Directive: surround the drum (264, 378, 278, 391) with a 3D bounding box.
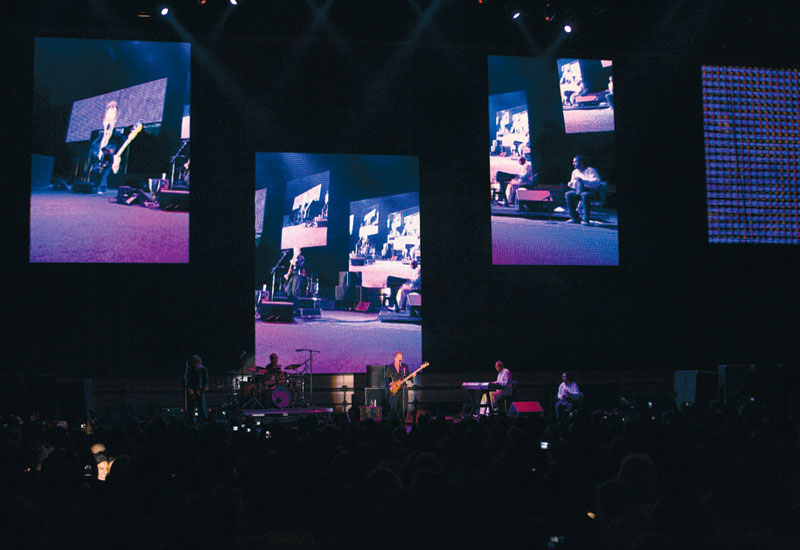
[{"bbox_3d":[-2.116,1.801,14.915,0.162,0.167,0.168,-11,-21,43],"label":"drum"}]

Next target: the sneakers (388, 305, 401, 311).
[{"bbox_3d":[-0.079,0.591,16.052,0.103,0.091,0.145,-2,-4,27],"label":"sneakers"}]

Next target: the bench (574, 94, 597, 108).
[{"bbox_3d":[3.464,-3.197,16.552,0.410,0.218,0.144,2,-8,-2],"label":"bench"}]

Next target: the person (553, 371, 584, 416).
[{"bbox_3d":[2.867,2.023,15.289,0.447,0.694,0.440,21,-32,-24],"label":"person"}]

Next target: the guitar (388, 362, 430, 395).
[{"bbox_3d":[0.198,1.799,15.828,0.812,0.546,0.418,4,-7,-14],"label":"guitar"}]

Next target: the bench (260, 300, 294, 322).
[{"bbox_3d":[-2.138,0.718,15.901,0.561,0.342,0.382,1,-8,-7],"label":"bench"}]

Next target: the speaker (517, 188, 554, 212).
[{"bbox_3d":[2.454,-1.343,16.425,0.587,0.369,0.432,0,-7,-2],"label":"speaker"}]

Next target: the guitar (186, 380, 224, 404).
[{"bbox_3d":[-3.328,1.994,15.314,0.310,0.484,0.729,0,-7,16],"label":"guitar"}]

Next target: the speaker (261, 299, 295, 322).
[{"bbox_3d":[-2.120,0.637,15.927,0.538,0.341,0.368,0,-8,-7],"label":"speaker"}]

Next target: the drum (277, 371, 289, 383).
[{"bbox_3d":[-1.915,1.686,14.985,0.167,0.216,0.167,-2,-9,0],"label":"drum"}]

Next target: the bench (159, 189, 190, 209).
[{"bbox_3d":[-3.915,-1.320,15.686,0.610,0.387,0.326,1,-4,-17],"label":"bench"}]

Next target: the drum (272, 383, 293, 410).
[{"bbox_3d":[-1.918,1.993,14.795,0.339,0.324,0.352,-4,-5,-15],"label":"drum"}]
